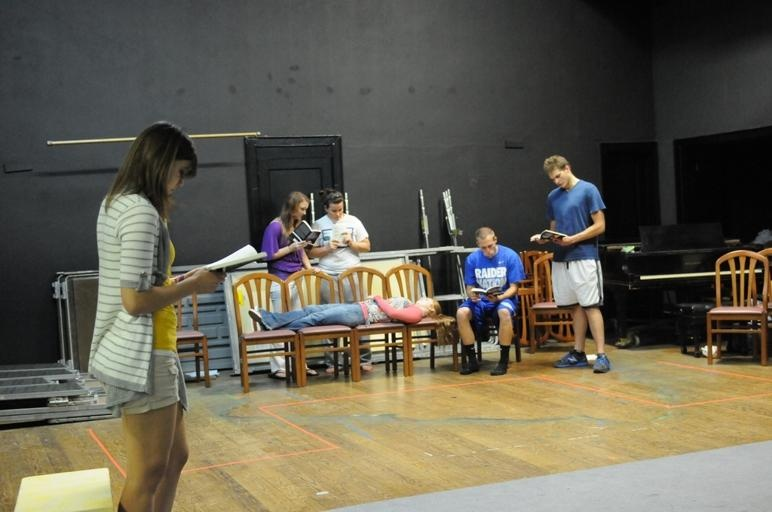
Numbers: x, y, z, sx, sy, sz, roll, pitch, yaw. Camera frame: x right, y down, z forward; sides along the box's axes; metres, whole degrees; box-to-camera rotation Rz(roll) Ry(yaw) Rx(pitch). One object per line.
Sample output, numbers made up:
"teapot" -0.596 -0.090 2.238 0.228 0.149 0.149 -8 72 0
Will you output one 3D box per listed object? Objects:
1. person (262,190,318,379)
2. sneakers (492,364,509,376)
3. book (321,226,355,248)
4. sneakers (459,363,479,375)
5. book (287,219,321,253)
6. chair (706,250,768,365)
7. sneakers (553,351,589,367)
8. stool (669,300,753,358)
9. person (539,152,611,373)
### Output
"person" -1.139 0.246 7.108 0.707 1.884 0.642 -11 21 -41
"sneakers" 1.250 1.215 6.579 0.268 0.102 0.118 -5 4 -42
"book" -0.528 -0.199 7.110 0.262 0.260 0.079 -3 -8 13
"sneakers" 0.912 1.254 6.706 0.229 0.088 0.083 6 -11 -32
"book" -0.915 -0.205 6.851 0.318 0.309 0.099 36 -10 22
"chair" 4.024 0.533 6.967 0.675 1.239 1.458 -1 3 27
"sneakers" 2.066 1.145 6.826 0.372 0.174 0.169 1 -3 -4
"stool" 3.784 0.860 7.190 0.605 0.757 0.586 -1 -6 13
"person" 2.044 0.079 6.559 0.580 2.297 0.564 -2 3 15
